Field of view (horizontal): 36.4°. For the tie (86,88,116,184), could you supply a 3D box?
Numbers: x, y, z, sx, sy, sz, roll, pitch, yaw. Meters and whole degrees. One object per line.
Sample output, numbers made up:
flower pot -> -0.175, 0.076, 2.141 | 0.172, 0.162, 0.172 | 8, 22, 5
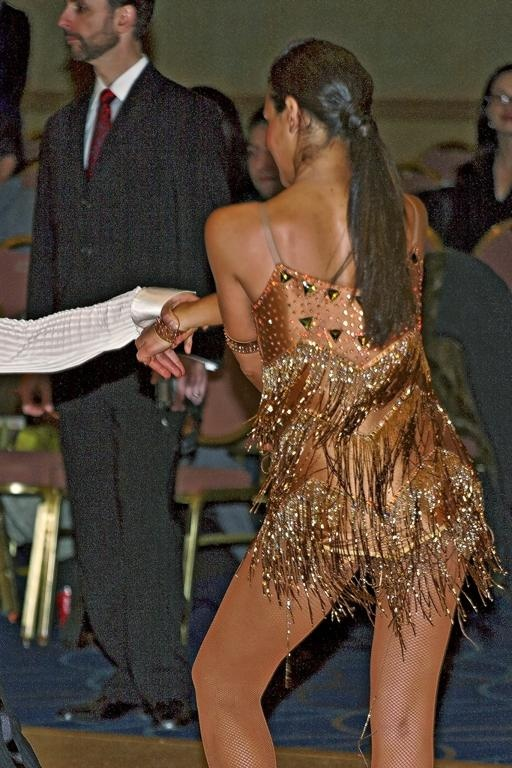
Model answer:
tie -> -0.485, -0.802, 2.530 | 0.070, 0.322, 0.041 | 17, -3, 9
